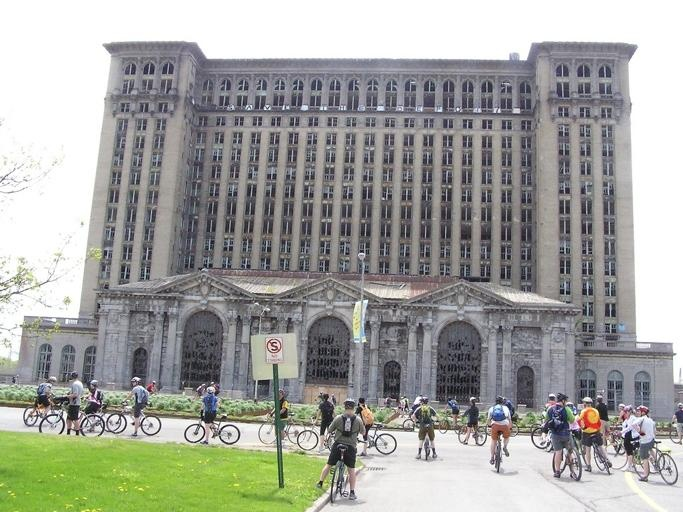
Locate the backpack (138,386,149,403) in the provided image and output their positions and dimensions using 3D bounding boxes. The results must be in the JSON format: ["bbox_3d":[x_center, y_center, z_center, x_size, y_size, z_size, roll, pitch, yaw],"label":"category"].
[{"bbox_3d":[-10.583,7.332,36.227,0.511,0.971,0.771,5,-14,-10],"label":"backpack"}]

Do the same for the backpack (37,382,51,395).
[{"bbox_3d":[-16.356,7.232,37.082,0.894,0.751,0.460,2,-18,-10],"label":"backpack"}]
